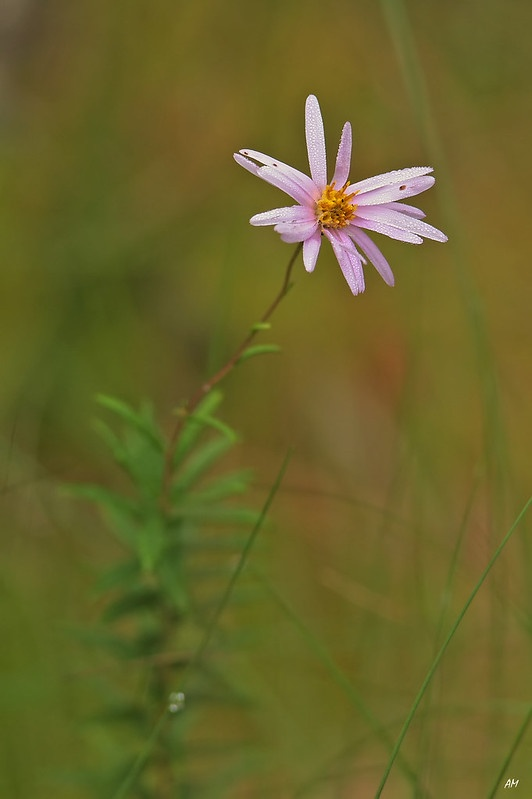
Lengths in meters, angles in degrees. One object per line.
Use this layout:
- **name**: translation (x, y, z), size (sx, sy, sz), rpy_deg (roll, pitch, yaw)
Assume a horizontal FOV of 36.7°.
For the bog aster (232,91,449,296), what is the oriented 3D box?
- **bog aster**: translation (0.076, -0.193, 0.751), size (0.216, 0.165, 0.110), rpy_deg (-21, 34, -23)
